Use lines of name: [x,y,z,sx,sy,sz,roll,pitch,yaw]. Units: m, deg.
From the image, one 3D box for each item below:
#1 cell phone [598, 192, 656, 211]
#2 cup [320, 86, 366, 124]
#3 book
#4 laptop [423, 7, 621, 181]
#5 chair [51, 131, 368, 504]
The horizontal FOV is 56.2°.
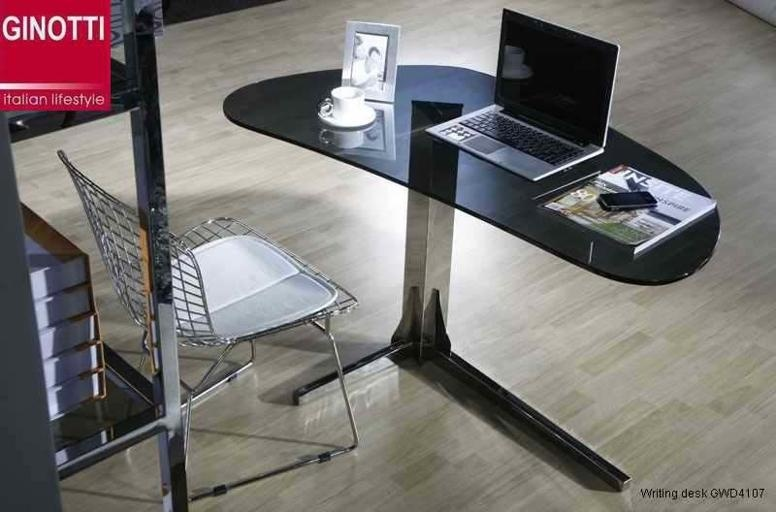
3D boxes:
cell phone: [0.674,-0.154,2.012,0.133,0.016,0.066,-6,37,-9]
cup: [-0.155,-0.507,2.393,0.172,0.096,0.103,-20,45,-22]
book: [0.675,-0.141,2.012,0.393,0.028,0.307,-28,47,-31]
laptop: [0.413,-0.498,2.221,0.425,0.310,0.494,-32,50,-33]
chair: [-0.497,0.210,2.232,0.861,1.110,0.704,-21,51,-26]
